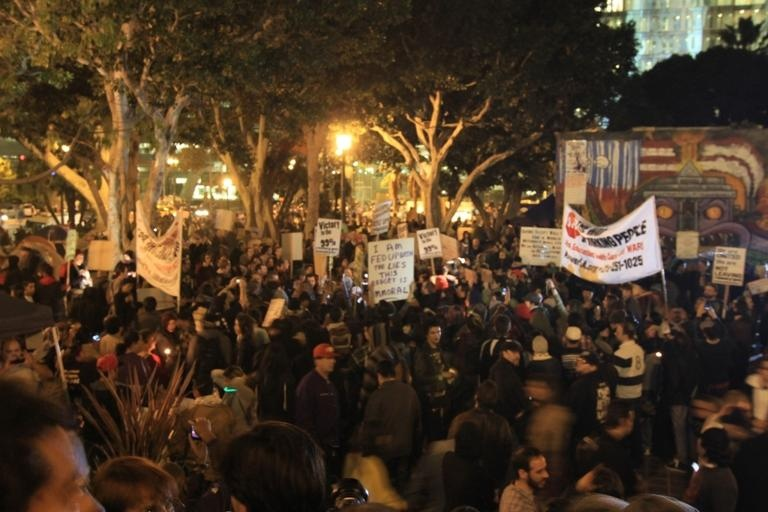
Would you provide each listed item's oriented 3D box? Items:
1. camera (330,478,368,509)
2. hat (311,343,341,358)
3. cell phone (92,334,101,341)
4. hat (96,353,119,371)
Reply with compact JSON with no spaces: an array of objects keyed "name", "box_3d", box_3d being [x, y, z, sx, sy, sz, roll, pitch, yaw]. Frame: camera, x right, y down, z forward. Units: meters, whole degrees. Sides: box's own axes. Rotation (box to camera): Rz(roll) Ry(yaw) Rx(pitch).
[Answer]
[{"name":"camera","box_3d":[-0.324,2.143,6.417,0.242,0.239,0.234,-35,0,6]},{"name":"hat","box_3d":[-0.835,1.300,9.878,0.291,0.154,0.211,-5,5,3]},{"name":"cell phone","box_3d":[-5.572,1.572,13.983,0.183,0.052,0.179,3,10,-1]},{"name":"hat","box_3d":[-3.730,1.437,9.766,0.264,0.175,0.256,-1,10,-14]}]
